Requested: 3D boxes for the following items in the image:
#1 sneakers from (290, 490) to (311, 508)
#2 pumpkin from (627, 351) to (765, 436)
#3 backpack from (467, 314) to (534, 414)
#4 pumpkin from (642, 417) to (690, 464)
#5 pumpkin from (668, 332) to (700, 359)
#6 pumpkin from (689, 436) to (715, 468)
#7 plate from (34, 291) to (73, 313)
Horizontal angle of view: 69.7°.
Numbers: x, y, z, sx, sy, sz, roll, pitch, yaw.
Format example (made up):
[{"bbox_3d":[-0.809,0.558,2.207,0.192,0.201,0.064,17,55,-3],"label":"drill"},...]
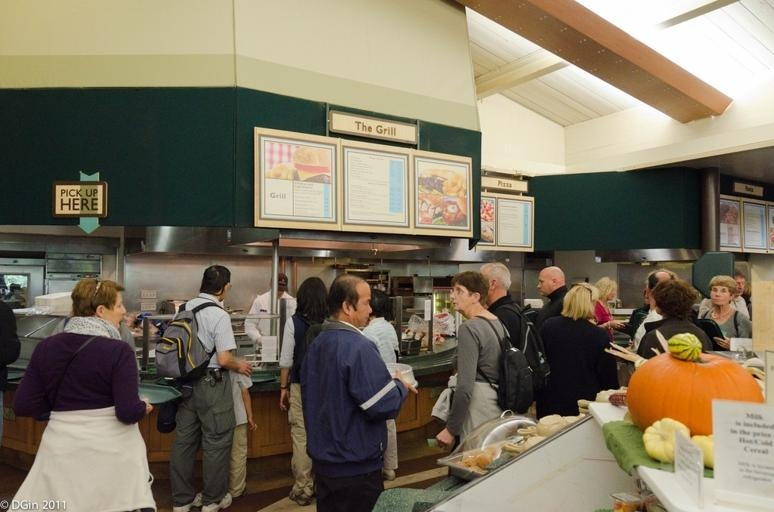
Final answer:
[{"bbox_3d":[-0.718,2.020,4.670,0.198,0.090,0.075,15,2,37],"label":"sneakers"},{"bbox_3d":[1.297,0.510,2.374,0.379,0.271,0.387,-4,-1,42],"label":"pumpkin"},{"bbox_3d":[0.829,0.756,3.917,0.370,0.532,0.201,-2,-1,12],"label":"backpack"},{"bbox_3d":[1.092,0.739,2.245,0.109,0.170,0.163,34,-18,-34],"label":"pumpkin"},{"bbox_3d":[1.293,0.393,2.419,0.104,0.096,0.121,-30,22,-24],"label":"pumpkin"},{"bbox_3d":[1.244,0.753,2.168,0.115,0.063,0.116,0,-1,30],"label":"pumpkin"},{"bbox_3d":[-3.190,0.442,5.330,0.341,0.209,0.328,-1,-6,34],"label":"plate"}]
